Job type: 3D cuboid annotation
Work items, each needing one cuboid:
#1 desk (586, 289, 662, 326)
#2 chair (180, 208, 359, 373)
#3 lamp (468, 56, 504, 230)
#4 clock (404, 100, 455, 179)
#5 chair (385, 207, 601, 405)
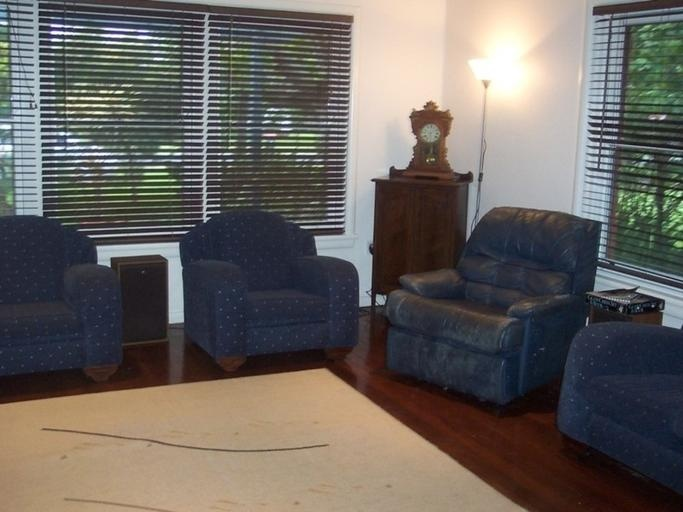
[{"bbox_3d":[1.778,0.360,3.653,0.265,0.234,0.369,-7,10,-18],"label":"desk"},{"bbox_3d":[-0.591,0.140,4.547,1.245,1.164,1.174,-3,8,-22],"label":"chair"},{"bbox_3d":[1.219,-1.014,5.177,0.242,1.520,0.417,5,12,13],"label":"lamp"},{"bbox_3d":[0.779,-1.025,5.018,0.402,0.641,0.187,4,12,7],"label":"clock"},{"bbox_3d":[1.039,0.279,4.192,1.377,1.274,1.307,-7,11,-37],"label":"chair"}]
